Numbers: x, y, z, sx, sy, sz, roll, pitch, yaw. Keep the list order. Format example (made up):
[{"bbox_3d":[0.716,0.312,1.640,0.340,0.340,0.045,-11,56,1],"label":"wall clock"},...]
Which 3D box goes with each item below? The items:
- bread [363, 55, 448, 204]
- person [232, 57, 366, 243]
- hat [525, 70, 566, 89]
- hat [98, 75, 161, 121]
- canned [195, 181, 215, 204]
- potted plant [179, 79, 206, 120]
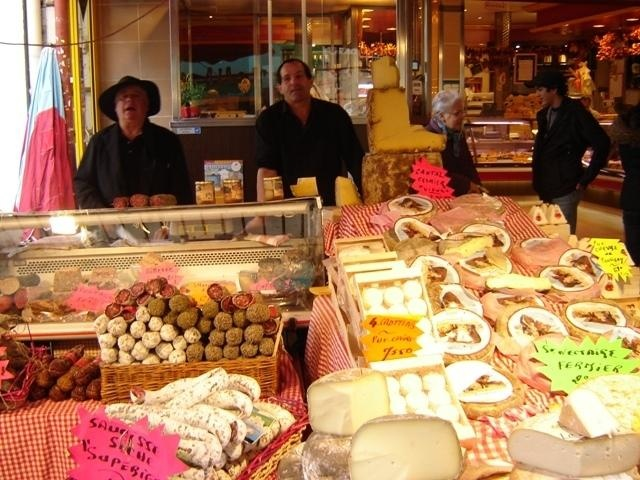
[{"bbox_3d":[0.461,-0.647,2.812,0.506,0.807,0.381,-8,17,-5],"label":"bread"},{"bbox_3d":[-0.195,-0.549,4.122,1.147,1.787,0.790,-19,38,-18],"label":"person"},{"bbox_3d":[2.155,-1.529,4.667,0.355,0.202,0.300,3,19,28],"label":"hat"},{"bbox_3d":[-1.408,-1.124,3.793,0.389,0.120,0.422,-2,37,2],"label":"hat"},{"bbox_3d":[-0.603,-0.254,2.623,0.126,0.132,0.127,0,2,3],"label":"canned"},{"bbox_3d":[-1.373,-1.499,5.271,0.254,0.348,0.261,13,21,15],"label":"potted plant"}]
